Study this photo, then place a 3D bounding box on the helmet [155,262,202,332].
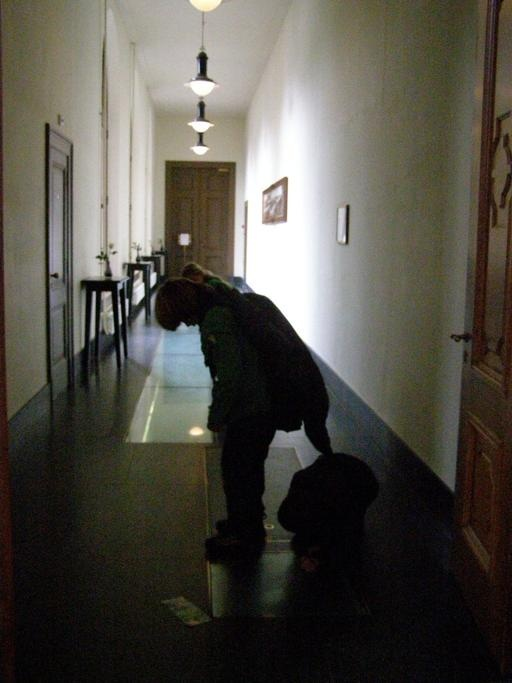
[{"bbox_3d":[-0.279,-0.181,2.063,0.158,0.266,0.332,2,3,12],"label":"helmet"}]
